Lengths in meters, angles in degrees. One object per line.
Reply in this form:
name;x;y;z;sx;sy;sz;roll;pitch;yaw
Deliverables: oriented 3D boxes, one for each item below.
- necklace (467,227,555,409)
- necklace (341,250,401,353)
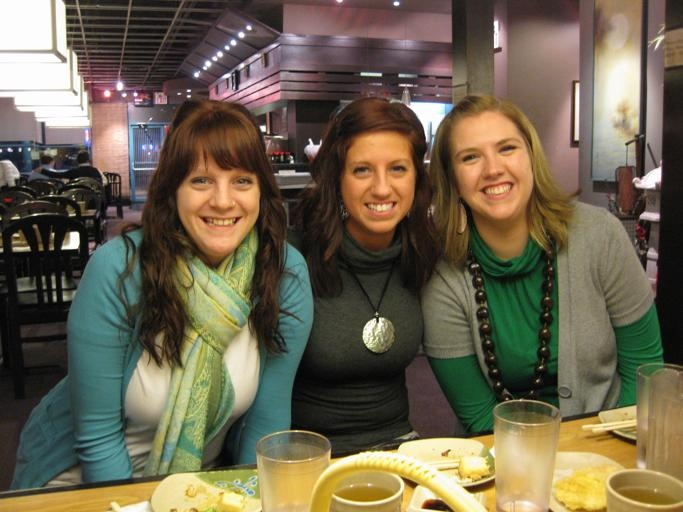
necklace;0.613;0.227;1.865;0.294;0.556;0.219;-3;6;22
necklace;0.122;0.178;1.913;0.191;0.322;0.182;-6;6;0
